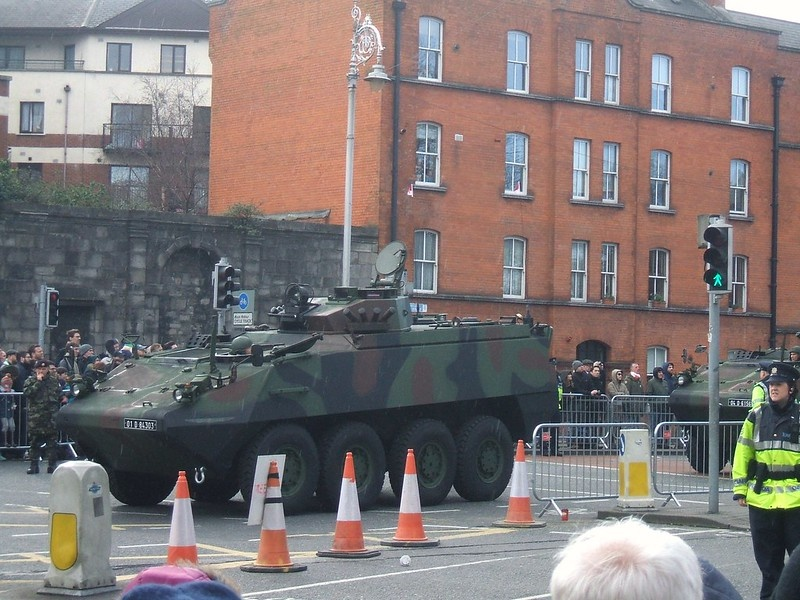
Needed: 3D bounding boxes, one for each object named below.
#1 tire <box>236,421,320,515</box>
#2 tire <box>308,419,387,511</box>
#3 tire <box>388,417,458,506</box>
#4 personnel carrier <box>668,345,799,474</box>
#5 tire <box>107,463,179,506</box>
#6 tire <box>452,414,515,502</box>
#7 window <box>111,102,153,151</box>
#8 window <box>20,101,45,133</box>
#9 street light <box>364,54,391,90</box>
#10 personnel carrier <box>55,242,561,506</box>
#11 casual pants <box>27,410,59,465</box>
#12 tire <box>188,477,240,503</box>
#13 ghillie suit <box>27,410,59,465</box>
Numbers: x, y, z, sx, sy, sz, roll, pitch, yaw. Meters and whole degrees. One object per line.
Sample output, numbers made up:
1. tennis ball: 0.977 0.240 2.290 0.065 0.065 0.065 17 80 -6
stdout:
1. tire: -1.935 2.791 26.637 1.372 1.494 0.494 6 -8 -36
2. tire: -0.725 2.813 27.296 0.361 1.360 1.420 -1 25 45
3. tire: 0.384 2.744 27.610 1.668 1.534 0.477 2 -2 -40
4. personnel carrier: 6.326 2.235 32.644 2.048 1.810 2.979 0 2 28
5. tire: -4.435 3.220 27.639 1.154 0.618 0.596 3 -7 -14
6. tire: 1.463 2.811 28.691 1.652 1.633 0.592 2 -4 -43
7. window: -9.912 -6.342 59.739 2.112 2.246 0.112 1 -15 -6
8. window: -13.665 -6.788 60.038 1.285 1.535 0.103 1 -6 -10
9. street light: -0.505 -5.149 36.653 0.396 0.894 0.818 1 -7 2
10. personnel carrier: -1.846 1.647 28.716 7.737 3.851 3.761 2 -4 -37
11. casual pants: -6.867 2.745 31.083 0.565 1.125 0.403 3 -7 -15
12. tire: -3.244 3.235 28.272 0.663 0.206 0.665 -1 -4 25
13. ghillie suit: -6.869 2.746 31.093 0.568 1.125 0.420 3 -7 -16
